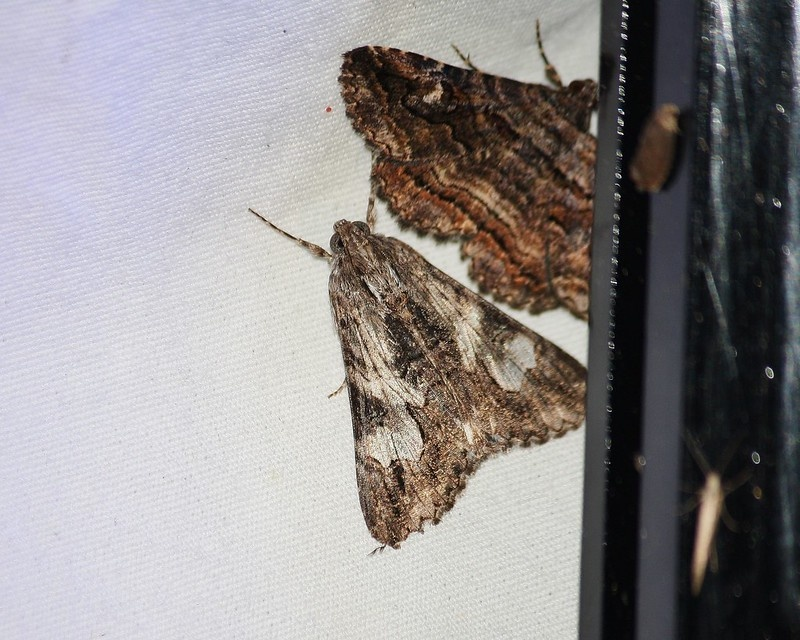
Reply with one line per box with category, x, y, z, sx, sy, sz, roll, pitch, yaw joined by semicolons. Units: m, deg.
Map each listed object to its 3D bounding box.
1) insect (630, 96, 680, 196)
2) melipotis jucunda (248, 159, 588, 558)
insect;0.264;-0.180;1.434;0.020;0.051;0.091;6;-86;-53
melipotis jucunda;0.041;0.078;2.162;0.430;0.141;0.613;-28;-83;-8
